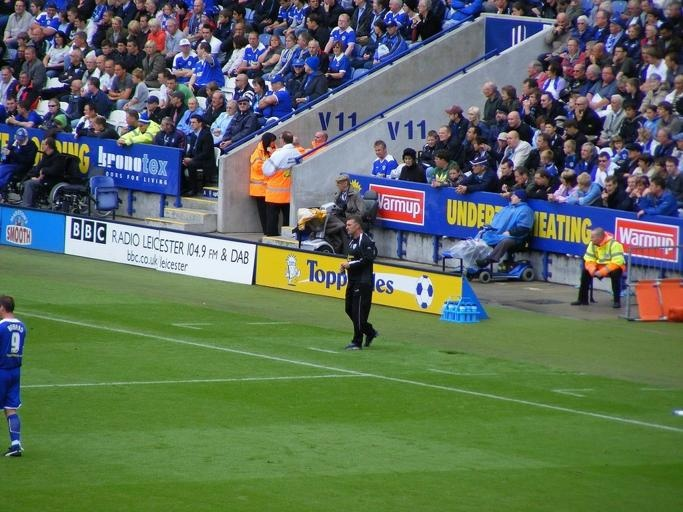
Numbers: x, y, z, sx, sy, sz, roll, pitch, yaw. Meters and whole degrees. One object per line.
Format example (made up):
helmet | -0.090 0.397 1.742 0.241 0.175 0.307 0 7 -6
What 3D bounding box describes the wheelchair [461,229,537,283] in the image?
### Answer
wheelchair | 3.660 0.031 40.593 1.558 1.257 0.814 2 -1 2
